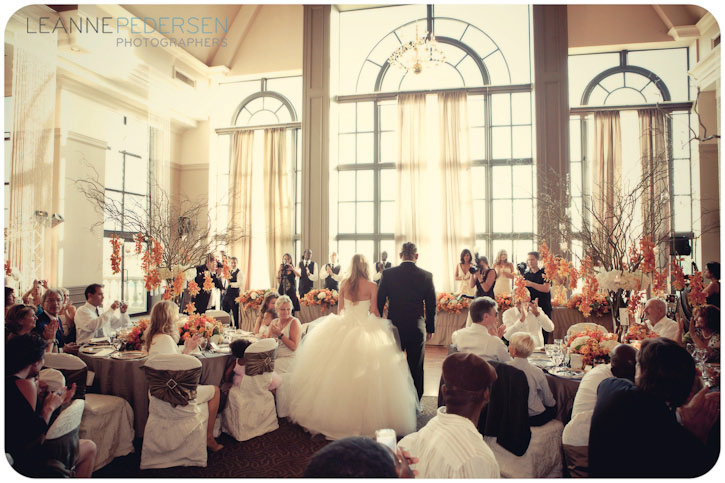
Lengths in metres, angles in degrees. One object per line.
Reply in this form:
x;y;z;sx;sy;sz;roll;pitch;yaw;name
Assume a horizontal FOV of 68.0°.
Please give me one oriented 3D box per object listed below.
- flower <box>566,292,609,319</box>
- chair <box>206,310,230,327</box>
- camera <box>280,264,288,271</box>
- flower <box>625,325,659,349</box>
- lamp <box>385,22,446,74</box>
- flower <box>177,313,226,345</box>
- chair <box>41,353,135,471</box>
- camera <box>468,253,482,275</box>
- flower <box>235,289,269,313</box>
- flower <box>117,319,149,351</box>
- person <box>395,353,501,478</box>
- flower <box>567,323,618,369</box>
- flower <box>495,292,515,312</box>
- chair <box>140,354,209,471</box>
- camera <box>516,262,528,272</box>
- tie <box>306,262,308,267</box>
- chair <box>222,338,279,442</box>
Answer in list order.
3.564;1.018;8.434;0.576;0.339;0.605;-2;4;9;flower
-2.258;1.179;8.448;0.335;0.350;0.325;6;-18;-14;chair
-1.599;0.525;11.095;0.116;0.106;0.158;3;-7;-3;camera
2.993;1.032;5.776;0.249;0.263;0.251;-5;-3;5;flower
1.111;-3.825;10.897;0.901;1.017;0.921;-2;-4;24;lamp
-2.090;1.119;7.021;0.392;0.299;0.391;3;-3;-36;flower
-3.044;1.890;6.240;0.740;1.037;0.821;-5;2;-16;chair
1.938;0.386;9.237;0.138;0.370;0.525;-1;14;12;camera
-2.164;1.137;10.557;0.705;0.338;0.742;3;3;12;flower
-2.866;1.196;6.773;0.255;0.261;0.354;2;-5;2;flower
0.759;1.460;4.504;0.754;1.002;0.285;0;-3;-12;person
2.622;1.186;6.205;0.546;0.387;0.507;-7;-11;31;flower
2.524;1.106;9.622;0.335;0.232;0.420;4;-11;-19;flower
-2.176;1.932;6.354;0.696;1.252;0.735;1;-4;-12;chair
2.474;0.397;8.325;0.240;0.129;0.339;0;-4;1;camera
-1.180;0.476;11.480;0.063;0.093;0.027;2;-6;1;tie
-1.434;1.812;6.822;0.750;1.172;0.777;0;1;-31;chair
